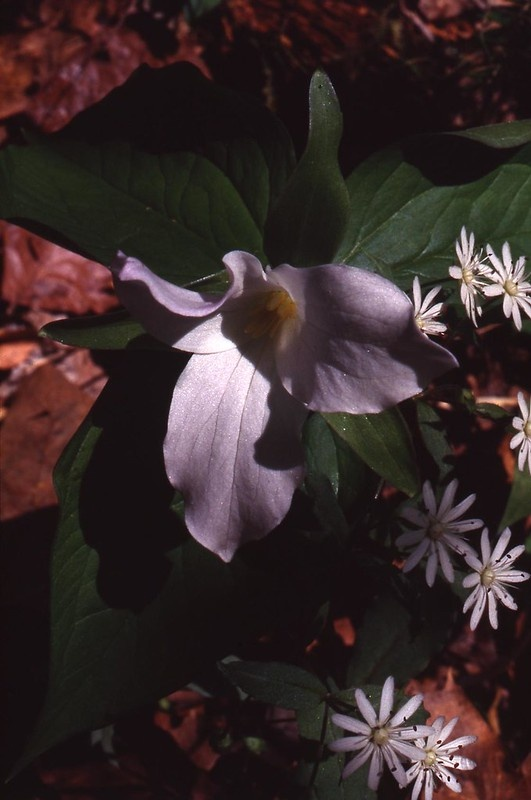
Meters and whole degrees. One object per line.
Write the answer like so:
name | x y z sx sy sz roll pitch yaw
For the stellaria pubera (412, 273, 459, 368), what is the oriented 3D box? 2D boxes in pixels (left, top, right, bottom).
stellaria pubera | 0.125 -0.054 0.567 0.073 0.068 0.019 1 -2 -31

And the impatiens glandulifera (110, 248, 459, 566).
impatiens glandulifera | 0.009 -0.008 0.444 0.217 0.210 0.102 -2 6 9

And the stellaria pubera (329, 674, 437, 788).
stellaria pubera | 0.086 0.242 0.555 0.076 0.075 0.067 15 36 5
